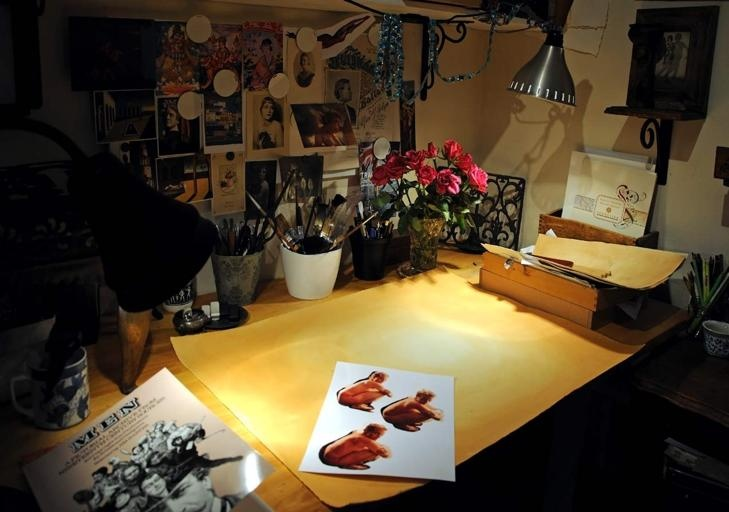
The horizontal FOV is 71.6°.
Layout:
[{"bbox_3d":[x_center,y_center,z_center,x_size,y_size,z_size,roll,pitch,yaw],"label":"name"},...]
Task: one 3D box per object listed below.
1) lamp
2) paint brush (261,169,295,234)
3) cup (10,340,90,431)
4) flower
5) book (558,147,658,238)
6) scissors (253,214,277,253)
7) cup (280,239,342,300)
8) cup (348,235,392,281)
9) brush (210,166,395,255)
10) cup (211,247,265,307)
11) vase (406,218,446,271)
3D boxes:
[{"bbox_3d":[0.561,-0.581,1.563,0.204,0.224,0.212,21,11,38],"label":"lamp"},{"bbox_3d":[-0.257,-0.161,1.529,0.009,0.078,0.224,-12,41,52],"label":"paint brush"},{"bbox_3d":[-0.661,0.263,1.134,0.193,0.186,0.126,-4,17,-28],"label":"cup"},{"bbox_3d":[0.210,-0.153,1.703,0.376,0.426,0.407,0,-9,10],"label":"flower"},{"bbox_3d":[0.825,-0.208,1.684,0.226,0.241,0.077,23,25,35],"label":"book"},{"bbox_3d":[-0.301,-0.063,1.498,0.041,0.113,0.065,-25,-41,33],"label":"scissors"},{"bbox_3d":[-0.162,0.055,1.558,0.162,0.141,0.152,-1,19,0],"label":"cup"},{"bbox_3d":[0.014,0.007,1.670,0.129,0.129,0.132,2,16,-1],"label":"cup"},{"bbox_3d":[-0.227,-0.080,1.507,0.324,0.145,0.325,8,-2,-42],"label":"brush"},{"bbox_3d":[-0.362,0.060,1.479,0.145,0.124,0.136,2,19,-1],"label":"cup"},{"bbox_3d":[0.198,-0.056,1.719,0.142,0.182,0.148,-6,17,-35],"label":"vase"}]
